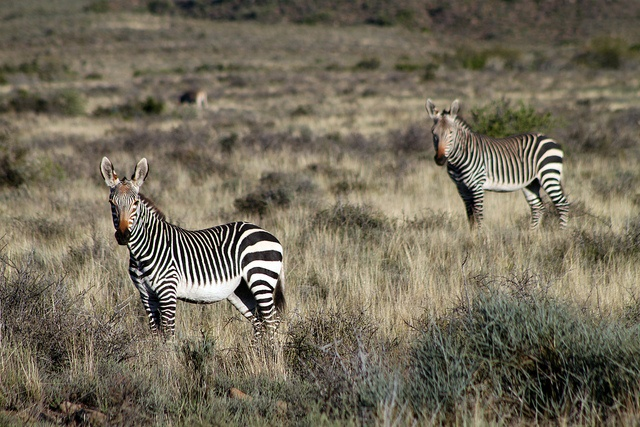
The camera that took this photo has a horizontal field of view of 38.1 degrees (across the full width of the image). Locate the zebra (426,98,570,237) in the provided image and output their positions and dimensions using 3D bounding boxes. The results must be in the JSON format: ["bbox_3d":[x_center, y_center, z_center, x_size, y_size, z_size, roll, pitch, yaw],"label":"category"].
[{"bbox_3d":[7.672,-1.796,39.541,5.987,5.183,1.797,1,2,-15],"label":"zebra"}]
